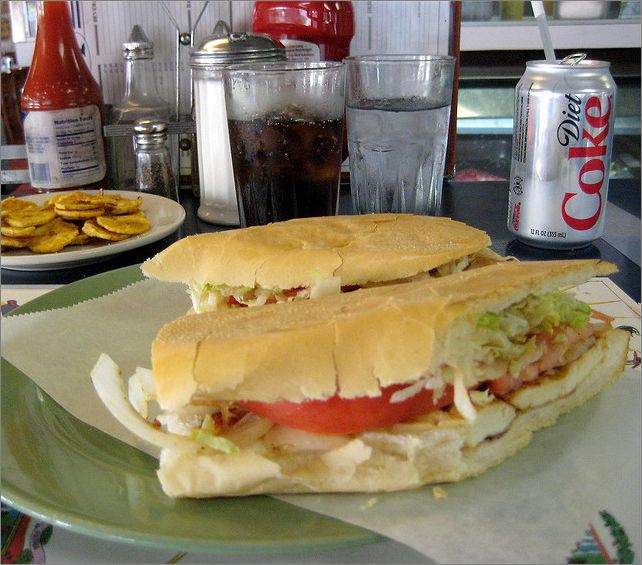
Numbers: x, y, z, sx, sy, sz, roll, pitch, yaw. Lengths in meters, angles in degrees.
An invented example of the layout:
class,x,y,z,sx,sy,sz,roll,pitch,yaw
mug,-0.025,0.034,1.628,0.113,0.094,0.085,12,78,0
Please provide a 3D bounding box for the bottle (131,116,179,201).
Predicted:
class,x,y,z,sx,sy,sz,roll,pitch,yaw
bottle,-0.451,-0.322,1.657,0.107,0.223,0.155,-7,20,-14
